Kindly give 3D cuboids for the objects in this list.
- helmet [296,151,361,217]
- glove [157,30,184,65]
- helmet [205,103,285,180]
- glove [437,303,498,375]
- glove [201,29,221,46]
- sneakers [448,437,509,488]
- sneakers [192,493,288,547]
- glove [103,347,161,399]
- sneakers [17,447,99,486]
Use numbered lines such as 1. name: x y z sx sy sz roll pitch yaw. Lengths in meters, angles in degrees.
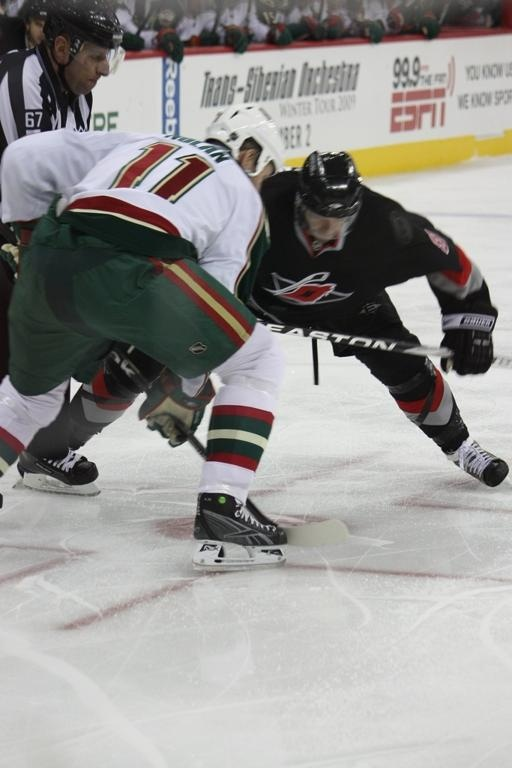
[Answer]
1. helmet: 0.158 -0.445 1.677 0.165 0.152 0.168 7 14 27
2. glove: -0.625 -2.492 5.561 0.074 0.154 0.127 -43 40 -20
3. helmet: -0.003 -0.681 2.107 0.237 0.197 0.161 2 34 -7
4. glove: 0.566 -0.108 1.964 0.185 0.155 0.071 -1 7 4
5. glove: -0.367 -2.703 5.890 0.106 0.117 0.075 -11 38 -18
6. sneakers: 0.613 0.219 2.110 0.084 0.073 0.193 42 -3 -28
7. sneakers: -0.026 0.287 1.567 0.231 0.097 0.074 11 -15 -35
8. glove: -0.291 -0.022 1.749 0.109 0.073 0.132 28 2 -16
9. sneakers: -0.506 0.220 2.100 0.265 0.142 0.079 -1 35 4
